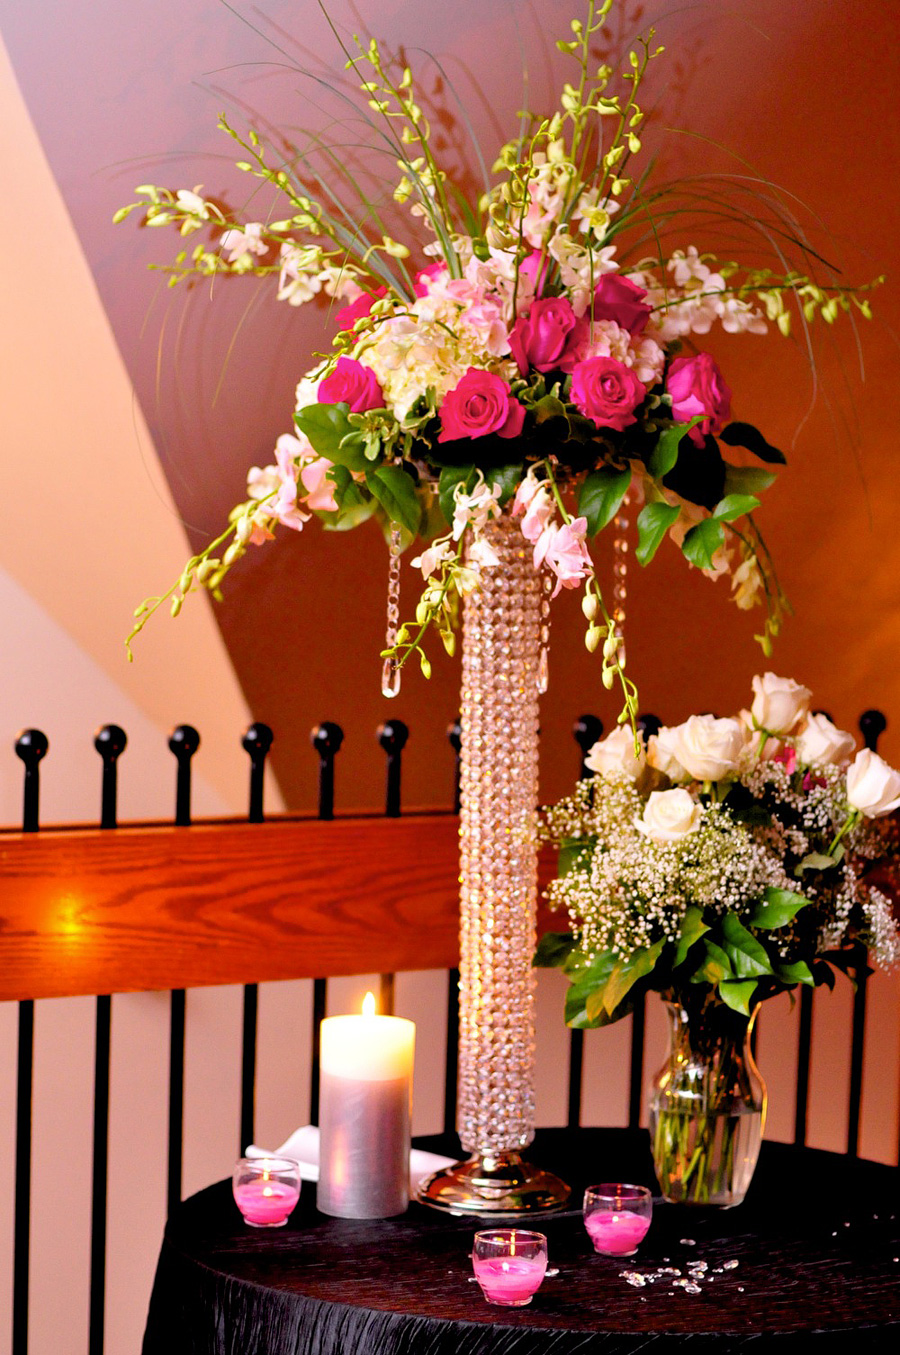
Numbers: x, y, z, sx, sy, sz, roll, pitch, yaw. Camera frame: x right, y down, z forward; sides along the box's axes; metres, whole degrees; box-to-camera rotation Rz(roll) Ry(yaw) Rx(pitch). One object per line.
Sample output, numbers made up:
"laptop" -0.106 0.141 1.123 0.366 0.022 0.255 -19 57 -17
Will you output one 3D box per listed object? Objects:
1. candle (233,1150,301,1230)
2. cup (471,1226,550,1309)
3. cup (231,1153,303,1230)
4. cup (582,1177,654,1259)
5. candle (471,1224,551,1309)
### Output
"candle" -0.131 0.366 0.911 0.051 0.041 0.054 4 2 -33
"cup" 0.037 0.357 0.770 0.045 0.033 0.047 -1 3 0
"cup" -0.129 0.364 0.919 0.056 0.040 0.050 2 -9 23
"cup" 0.114 0.368 0.868 0.049 0.038 0.051 1 6 0
"candle" 0.036 0.355 0.770 0.045 0.033 0.047 -4 4 -42
